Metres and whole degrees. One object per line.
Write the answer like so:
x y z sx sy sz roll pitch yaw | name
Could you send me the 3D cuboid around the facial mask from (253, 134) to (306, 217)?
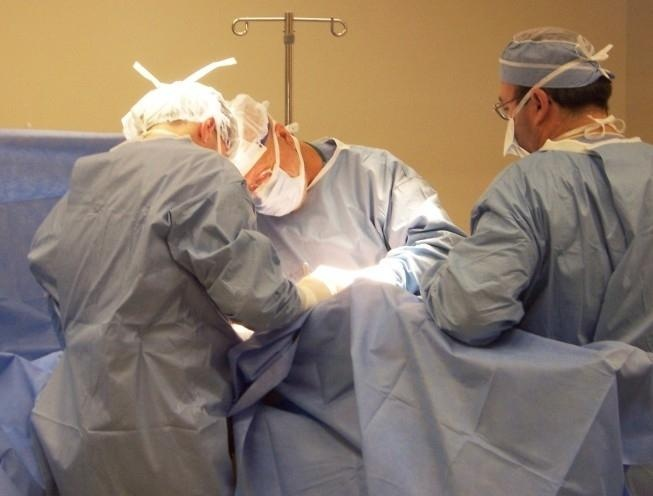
-0.195 -0.281 3.684 0.210 0.318 0.164 -7 -5 31 | facial mask
